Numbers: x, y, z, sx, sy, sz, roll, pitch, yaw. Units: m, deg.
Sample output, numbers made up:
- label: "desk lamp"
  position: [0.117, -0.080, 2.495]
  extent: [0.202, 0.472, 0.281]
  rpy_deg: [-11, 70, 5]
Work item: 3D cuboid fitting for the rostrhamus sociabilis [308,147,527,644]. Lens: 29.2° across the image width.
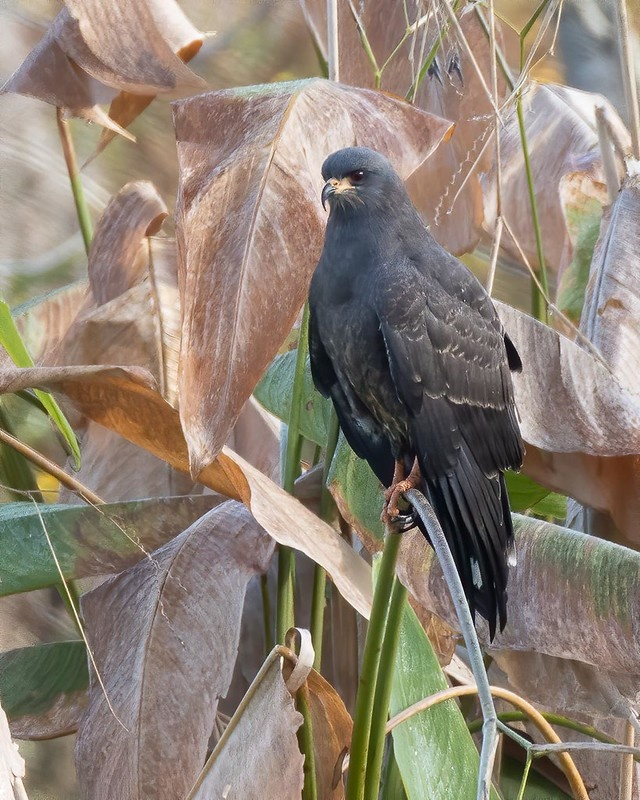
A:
- label: "rostrhamus sociabilis"
  position: [0.108, -0.019, 1.631]
  extent: [0.304, 0.608, 0.269]
  rpy_deg: [0, 5, 13]
